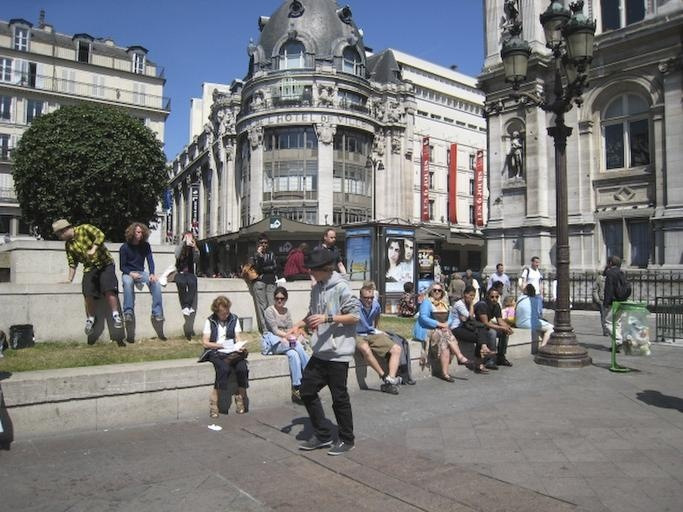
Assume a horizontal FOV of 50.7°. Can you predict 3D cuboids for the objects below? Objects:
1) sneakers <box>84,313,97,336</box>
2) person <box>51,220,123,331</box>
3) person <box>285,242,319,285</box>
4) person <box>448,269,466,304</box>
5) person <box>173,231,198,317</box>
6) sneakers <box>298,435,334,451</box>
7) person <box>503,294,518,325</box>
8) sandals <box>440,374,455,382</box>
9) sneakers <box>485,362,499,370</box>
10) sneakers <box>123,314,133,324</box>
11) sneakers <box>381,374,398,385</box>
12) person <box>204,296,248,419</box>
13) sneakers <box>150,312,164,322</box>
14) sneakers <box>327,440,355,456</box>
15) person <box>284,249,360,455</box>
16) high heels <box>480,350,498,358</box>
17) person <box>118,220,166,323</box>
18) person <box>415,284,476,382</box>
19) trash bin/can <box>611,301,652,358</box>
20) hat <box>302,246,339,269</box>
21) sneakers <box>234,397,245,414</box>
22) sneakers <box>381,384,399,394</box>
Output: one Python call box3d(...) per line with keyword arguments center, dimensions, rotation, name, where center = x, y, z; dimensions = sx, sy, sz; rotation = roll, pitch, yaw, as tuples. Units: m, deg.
box3d(center=(-5.488, 1.522, 15.742), dimensions=(0.173, 0.519, 0.199), rotation=(-5, -18, 7), name="sneakers")
box3d(center=(-5.604, 0.355, 15.878), dimensions=(1.078, 2.701, 1.064), rotation=(-16, -12, -19), name="person")
box3d(center=(-1.134, 0.146, 19.562), dimensions=(0.682, 1.031, 0.808), rotation=(11, -2, -16), name="person")
box3d(center=(4.015, 1.275, 24.835), dimensions=(0.500, 1.622, 0.454), rotation=(1, 15, 14), name="person")
box3d(center=(-3.644, 0.389, 16.949), dimensions=(0.498, 1.922, 0.440), rotation=(0, -3, -15), name="person")
box3d(center=(-0.449, 3.351, 12.933), dimensions=(0.589, 0.279, 0.245), rotation=(6, -12, -8), name="sneakers")
box3d(center=(4.491, 1.431, 19.273), dimensions=(0.311, 0.756, 0.511), rotation=(3, -7, -37), name="person")
box3d(center=(2.401, 2.768, 16.269), dimensions=(0.109, 0.142, 0.329), rotation=(3, -3, -34), name="sandals")
box3d(center=(3.616, 2.614, 17.150), dimensions=(0.379, 0.178, 0.135), rotation=(1, -1, 6), name="sneakers")
box3d(center=(-4.743, 1.387, 16.051), dimensions=(0.158, 0.177, 0.200), rotation=(-1, 4, 1), name="sneakers")
box3d(center=(1.111, 2.660, 15.435), dimensions=(0.382, 0.196, 0.229), rotation=(0, -3, -28), name="sneakers")
box3d(center=(-2.321, 1.989, 14.359), dimensions=(0.889, 2.359, 0.573), rotation=(-1, -2, -10), name="person")
box3d(center=(-4.187, 1.385, 16.465), dimensions=(0.142, 0.148, 0.319), rotation=(2, -6, -38), name="sneakers")
box3d(center=(-0.024, 3.428, 12.840), dimensions=(0.526, 0.252, 0.207), rotation=(3, -8, -19), name="sneakers")
box3d(center=(-0.223, 1.679, 12.965), dimensions=(1.057, 3.703, 0.629), rotation=(-1, -2, -2), name="person")
box3d(center=(3.464, 2.286, 16.788), dimensions=(0.418, 0.182, 0.161), rotation=(-2, 2, -14), name="high heels")
box3d(center=(-4.561, 0.373, 16.412), dimensions=(0.919, 2.300, 0.407), rotation=(0, -3, -33), name="person")
box3d(center=(2.261, 1.722, 16.573), dimensions=(1.169, 2.228, 0.884), rotation=(-1, -2, 3), name="person")
box3d(center=(6.561, 1.562, 16.393), dimensions=(0.807, 1.208, 0.719), rotation=(-3, 2, 1), name="trash bin/can")
box3d(center=(-0.396, 0.056, 12.930), dimensions=(0.502, 0.211, 0.467), rotation=(-16, 7, 4), name="hat")
box3d(center=(-1.997, 2.945, 14.327), dimensions=(0.186, 0.372, 0.097), rotation=(-1, -2, -10), name="sneakers")
box3d(center=(1.037, 2.842, 15.328), dimensions=(0.153, 0.181, 0.386), rotation=(3, -8, -39), name="sneakers")
